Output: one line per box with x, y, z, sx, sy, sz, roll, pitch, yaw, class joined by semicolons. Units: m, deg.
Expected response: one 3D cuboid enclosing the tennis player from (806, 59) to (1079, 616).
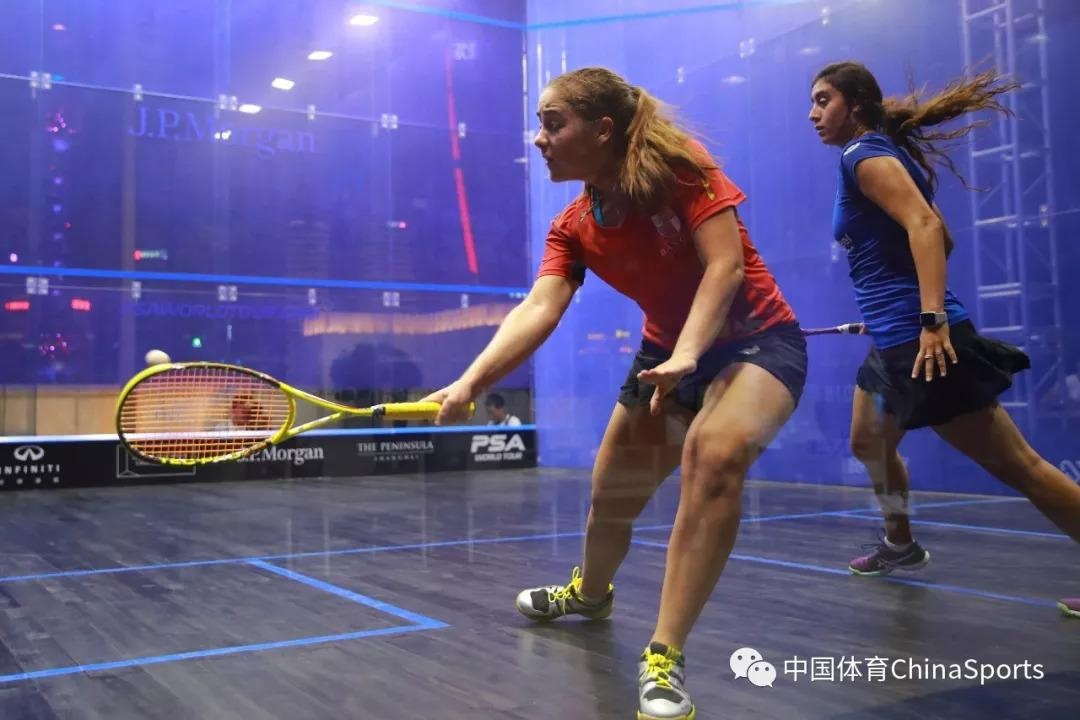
1.158;-0.097;2.410;0.482;1.663;0.764;-3;2;-31;tennis player

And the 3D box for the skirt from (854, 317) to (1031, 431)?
1.153;0.040;2.336;0.429;0.300;0.251;-1;2;30;skirt

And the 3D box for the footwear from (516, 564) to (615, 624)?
0.063;0.700;2.447;0.309;0.163;0.125;4;22;-6;footwear

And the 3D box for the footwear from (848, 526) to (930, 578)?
1.168;0.665;2.805;0.311;0.155;0.113;-10;-4;5;footwear

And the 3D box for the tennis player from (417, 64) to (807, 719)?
0.242;0.028;2.090;0.766;1.535;0.560;0;2;38;tennis player

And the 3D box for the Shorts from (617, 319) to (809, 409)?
0.434;0.013;2.002;0.105;0.170;0.263;29;-24;-30;Shorts
